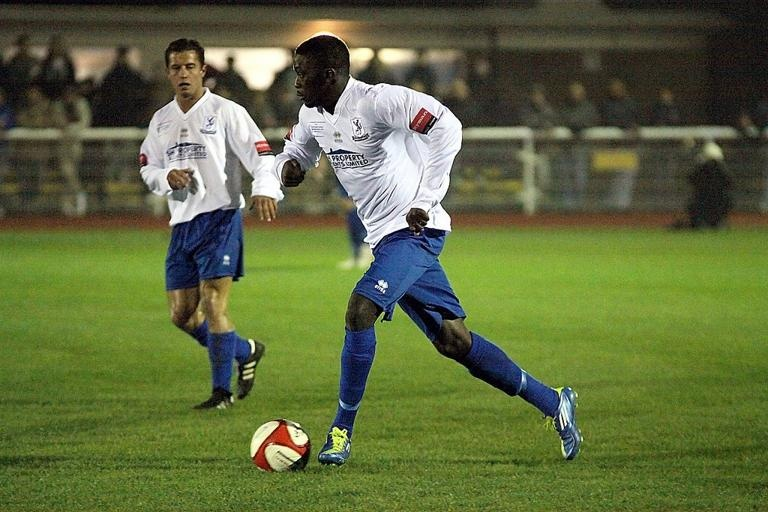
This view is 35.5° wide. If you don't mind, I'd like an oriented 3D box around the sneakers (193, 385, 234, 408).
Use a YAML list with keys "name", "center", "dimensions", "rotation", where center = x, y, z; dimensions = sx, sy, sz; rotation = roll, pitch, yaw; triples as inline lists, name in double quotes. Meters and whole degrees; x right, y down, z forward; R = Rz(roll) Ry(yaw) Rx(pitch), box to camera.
- name: "sneakers"
  center: [-1.561, 1.349, 11.342]
  dimensions: [0.477, 0.236, 0.144]
  rotation: [1, -10, -4]

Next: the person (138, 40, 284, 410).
- name: "person"
  center: [-1.706, -0.335, 11.484]
  dimensions: [1.366, 3.462, 0.649]
  rotation: [1, 6, 6]

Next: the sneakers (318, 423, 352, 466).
- name: "sneakers"
  center: [-0.425, 1.634, 10.457]
  dimensions: [0.312, 0.316, 0.195]
  rotation: [-1, 6, -15]

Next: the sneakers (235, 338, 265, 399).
- name: "sneakers"
  center: [-1.304, 1.094, 11.742]
  dimensions: [0.263, 0.559, 0.202]
  rotation: [22, -8, -34]

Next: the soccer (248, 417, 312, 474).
- name: "soccer"
  center: [-0.880, 1.618, 10.390]
  dimensions: [0.471, 0.409, 0.447]
  rotation: [21, 40, 34]
